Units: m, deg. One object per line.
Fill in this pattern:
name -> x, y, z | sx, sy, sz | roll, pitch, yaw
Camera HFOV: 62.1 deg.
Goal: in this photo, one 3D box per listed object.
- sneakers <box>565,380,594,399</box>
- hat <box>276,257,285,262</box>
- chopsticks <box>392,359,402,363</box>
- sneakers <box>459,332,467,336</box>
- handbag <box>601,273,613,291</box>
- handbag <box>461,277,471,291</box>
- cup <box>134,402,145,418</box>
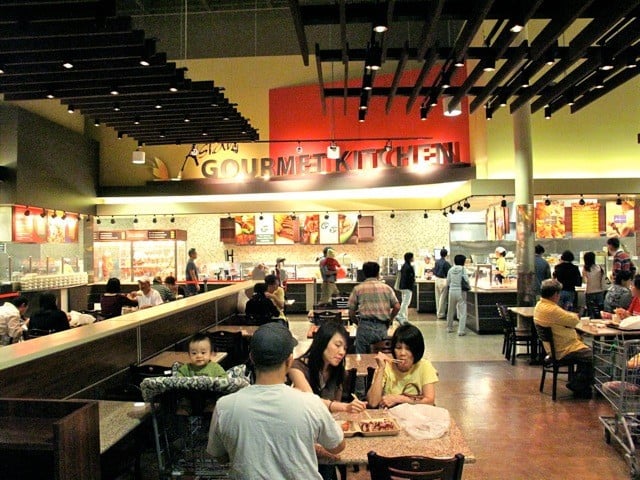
sneakers -> 3.634, 2.112, 7.434 | 0.257, 0.215, 0.197 | -6, -5, 8
hat -> -0.993, 0.534, 13.285 | 0.157, 0.108, 0.242 | -2, 1, 3
chopsticks -> 0.712, 1.127, 4.883 | 0.026, 0.026, 0.096 | 1, 1, -33
sneakers -> 3.038, 2.032, 11.341 | 0.059, 0.072, 0.176 | -1, -12, 2
handbag -> 5.553, 0.841, 10.248 | 0.111, 0.282, 0.338 | -2, -8, 24
handbag -> 3.177, 1.006, 11.550 | 0.210, 0.413, 0.408 | -3, -6, 20
cup -> -1.594, 1.502, 4.667 | 0.101, 0.072, 0.090 | -2, -6, -10
